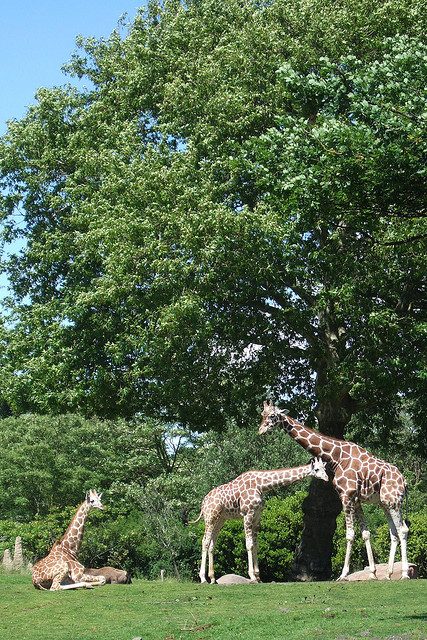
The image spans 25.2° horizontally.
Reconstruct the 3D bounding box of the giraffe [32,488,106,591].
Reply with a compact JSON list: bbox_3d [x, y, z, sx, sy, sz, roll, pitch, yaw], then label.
[{"bbox_3d":[-2.825,4.236,18.598,1.224,1.844,1.795,-4,-11,8],"label":"giraffe"}]

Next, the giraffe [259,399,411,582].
[{"bbox_3d":[2.651,3.405,19.190,2.544,3.458,0.960,-6,-12,18],"label":"giraffe"}]
